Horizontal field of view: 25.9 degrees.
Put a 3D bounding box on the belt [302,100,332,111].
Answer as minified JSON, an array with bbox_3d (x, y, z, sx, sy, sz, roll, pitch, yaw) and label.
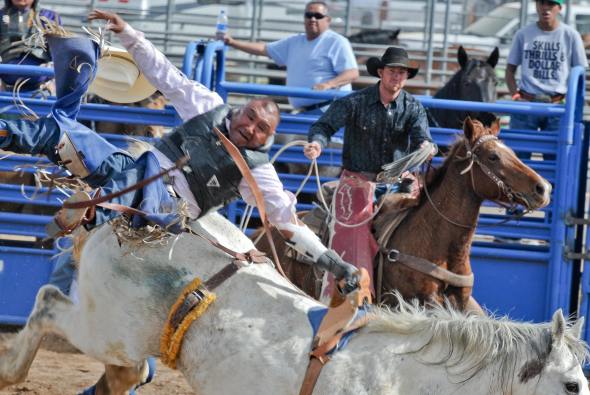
[{"bbox_3d":[0.249,-1.003,13.850,0.237,0.071,0.321,-1,0,-9],"label":"belt"}]

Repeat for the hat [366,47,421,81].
[{"bbox_3d":[0.988,-1.347,12.790,0.469,0.312,0.634,5,7,-4],"label":"hat"}]

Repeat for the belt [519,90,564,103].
[{"bbox_3d":[2.747,-1.141,14.425,0.542,0.112,0.224,10,8,30],"label":"belt"}]

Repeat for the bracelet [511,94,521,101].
[{"bbox_3d":[2.471,-1.122,14.266,0.089,0.065,0.088,-4,5,14],"label":"bracelet"}]

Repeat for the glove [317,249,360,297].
[{"bbox_3d":[0.397,0.629,11.224,0.434,0.172,0.294,35,-13,8],"label":"glove"}]

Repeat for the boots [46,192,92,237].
[{"bbox_3d":[-1.949,0.171,10.934,0.177,0.489,0.249,12,38,-57],"label":"boots"}]
